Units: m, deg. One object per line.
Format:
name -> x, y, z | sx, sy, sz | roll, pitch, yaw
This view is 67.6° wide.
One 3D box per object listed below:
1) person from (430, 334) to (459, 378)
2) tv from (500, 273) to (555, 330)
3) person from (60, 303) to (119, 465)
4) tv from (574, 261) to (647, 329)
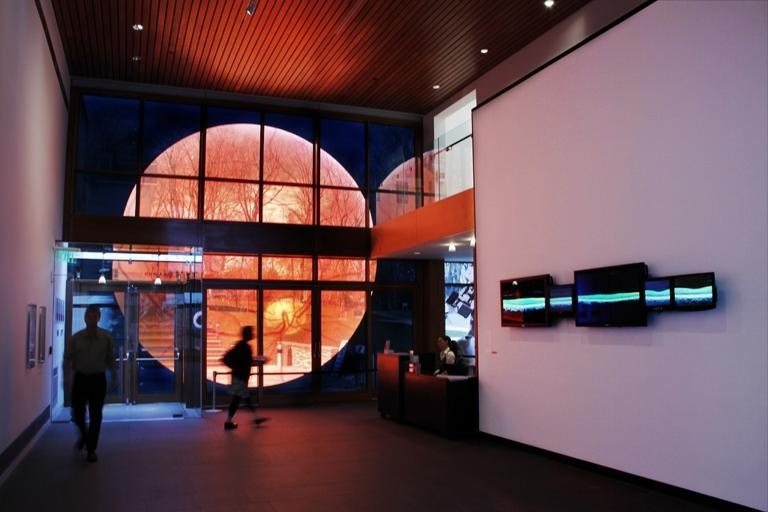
person -> 1.281, 2.014, 11.741 | 0.434, 0.683, 1.406 | 0, -3, 8
tv -> 2.436, 0.772, 9.613 | 0.094, 0.710, 0.926 | 5, -6, -30
person -> -4.780, 2.073, 9.259 | 0.661, 2.419, 0.662 | 3, -4, -44
tv -> 3.326, 0.576, 8.324 | 0.100, 0.812, 0.917 | 5, -8, -35
